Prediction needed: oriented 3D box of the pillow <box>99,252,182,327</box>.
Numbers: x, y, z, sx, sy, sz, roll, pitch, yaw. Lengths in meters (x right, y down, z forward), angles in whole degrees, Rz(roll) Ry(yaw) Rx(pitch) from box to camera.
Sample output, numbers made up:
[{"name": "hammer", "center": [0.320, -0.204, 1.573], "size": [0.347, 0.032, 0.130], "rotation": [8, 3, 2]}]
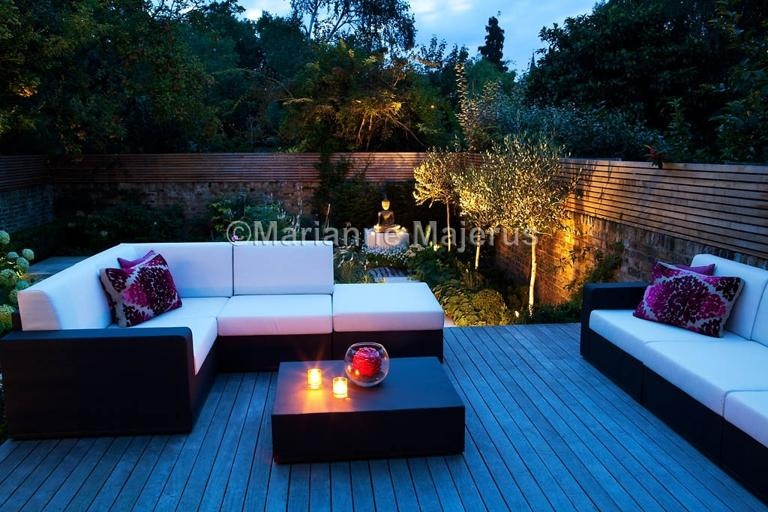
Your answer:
[{"name": "pillow", "center": [-2.425, 0.326, 4.670], "size": [0.338, 0.627, 0.817], "rotation": [3, 15, 11]}]

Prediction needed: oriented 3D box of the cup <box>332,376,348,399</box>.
[{"name": "cup", "center": [-0.370, 1.068, 3.762], "size": [0.118, 0.146, 0.127], "rotation": [1, 7, 0]}]

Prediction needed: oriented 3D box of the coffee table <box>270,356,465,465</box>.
[{"name": "coffee table", "center": [-0.124, 1.288, 3.841], "size": [1.538, 0.455, 0.665], "rotation": [-1, 19, -5]}]

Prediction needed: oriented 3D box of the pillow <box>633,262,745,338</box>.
[{"name": "pillow", "center": [2.924, 0.462, 4.471], "size": [0.779, 0.280, 0.877], "rotation": [7, 45, 49]}]

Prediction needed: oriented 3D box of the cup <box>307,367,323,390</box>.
[{"name": "cup", "center": [-0.573, 1.025, 3.870], "size": [0.132, 0.157, 0.131], "rotation": [0, 7, 0]}]
